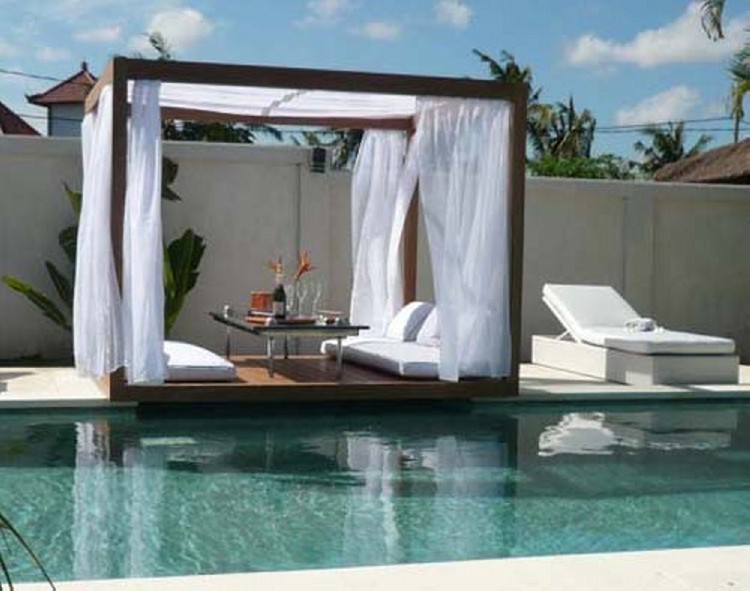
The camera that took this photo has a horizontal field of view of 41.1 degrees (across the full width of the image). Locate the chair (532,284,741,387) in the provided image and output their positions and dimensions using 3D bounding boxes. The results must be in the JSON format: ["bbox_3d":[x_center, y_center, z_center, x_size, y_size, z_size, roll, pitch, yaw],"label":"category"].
[{"bbox_3d":[2.563,0.436,9.914,0.943,0.856,1.826,-1,-1,-18],"label":"chair"}]

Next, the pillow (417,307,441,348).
[{"bbox_3d":[0.496,0.309,9.280,0.084,0.303,0.299,14,-1,-8],"label":"pillow"}]
